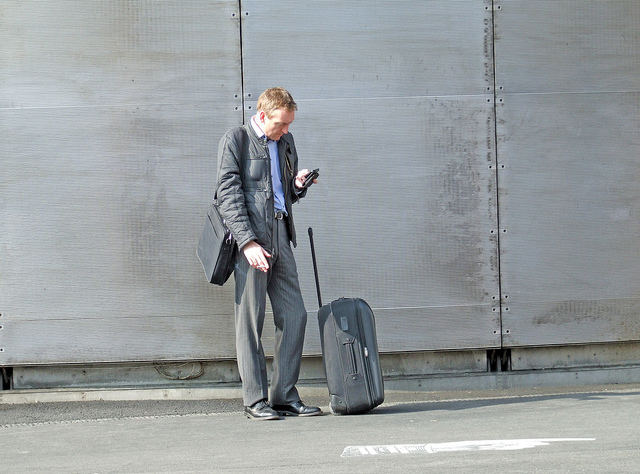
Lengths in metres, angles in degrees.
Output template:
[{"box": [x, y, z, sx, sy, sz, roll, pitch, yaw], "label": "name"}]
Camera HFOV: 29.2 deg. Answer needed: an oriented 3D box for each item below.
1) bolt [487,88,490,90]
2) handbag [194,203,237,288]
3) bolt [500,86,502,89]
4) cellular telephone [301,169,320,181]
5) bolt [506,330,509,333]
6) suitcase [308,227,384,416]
[{"box": [1.381, -1.232, 10.213, 0.024, 0.018, 0.034, -1, -1, 1], "label": "bolt"}, {"box": [-0.796, 0.092, 9.306, 0.168, 0.543, 0.414, 6, -55, -20], "label": "handbag"}, {"box": [1.481, -1.242, 10.217, 0.016, 0.023, 0.013, -4, -31, -5], "label": "bolt"}, {"box": [-0.078, -0.495, 9.383, 0.178, 0.037, 0.052, -28, -21, 1], "label": "cellular telephone"}, {"box": [1.552, 0.793, 10.278, 0.013, 0.017, 0.014, 4, -37, -5], "label": "bolt"}, {"box": [0.220, 0.624, 9.524, 0.536, 1.487, 0.409, -13, -8, 15], "label": "suitcase"}]
